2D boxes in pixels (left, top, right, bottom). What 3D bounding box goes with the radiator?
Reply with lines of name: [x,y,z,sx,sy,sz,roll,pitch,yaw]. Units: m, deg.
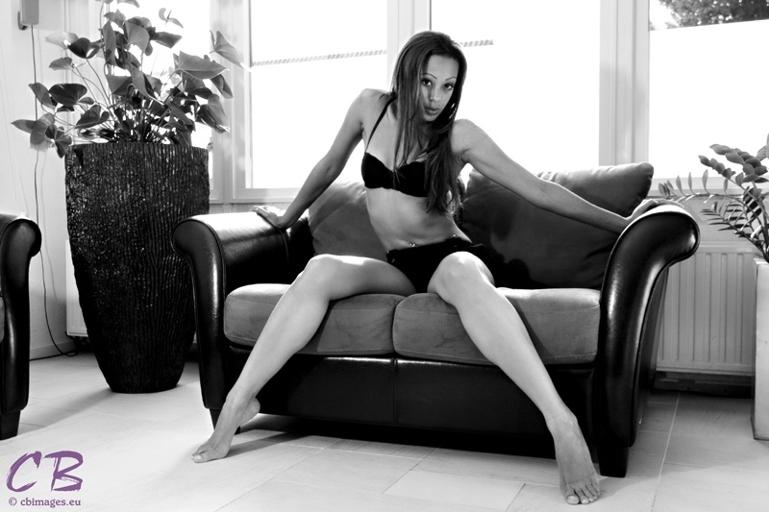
radiator: [1.612,0.249,3.112,0.666,0.957,0.069,2,1,12]

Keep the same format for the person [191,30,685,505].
person: [0.335,0.059,2.864,1.864,1.635,1.064,5,19,17]
